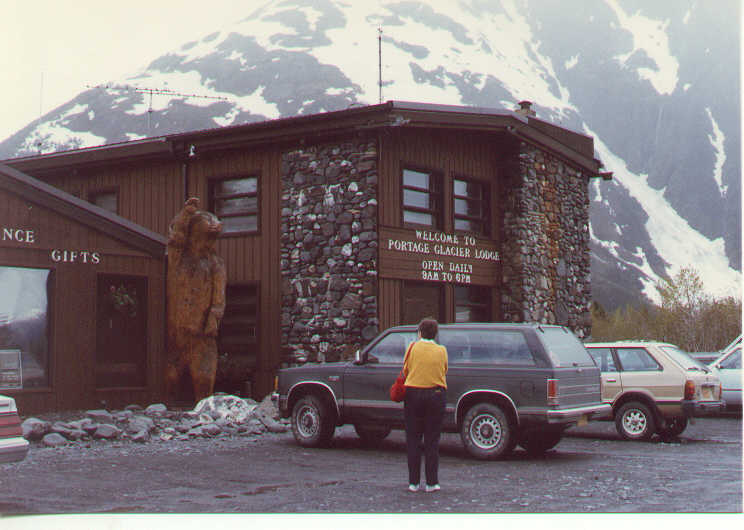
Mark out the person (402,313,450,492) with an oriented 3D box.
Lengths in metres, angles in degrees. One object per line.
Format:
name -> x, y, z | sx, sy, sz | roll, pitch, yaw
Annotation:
person -> 0.905, 2.327, 14.610 | 0.734, 2.889, 0.347 | 0, -9, 2

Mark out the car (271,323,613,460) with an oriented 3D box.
car -> 1.273, 2.380, 17.852 | 6.009, 2.513, 2.829 | -1, -5, 31
